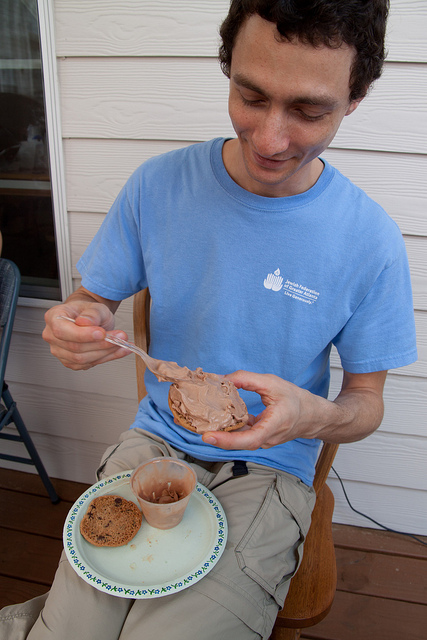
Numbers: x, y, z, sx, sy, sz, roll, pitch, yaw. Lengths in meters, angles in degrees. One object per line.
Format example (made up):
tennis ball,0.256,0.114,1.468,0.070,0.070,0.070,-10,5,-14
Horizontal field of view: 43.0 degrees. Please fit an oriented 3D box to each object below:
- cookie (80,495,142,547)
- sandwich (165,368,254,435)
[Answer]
cookie,-0.229,0.457,1.225,0.123,0.047,0.140,7,25,7
sandwich,-0.007,0.206,1.282,0.183,0.053,0.156,26,62,20
